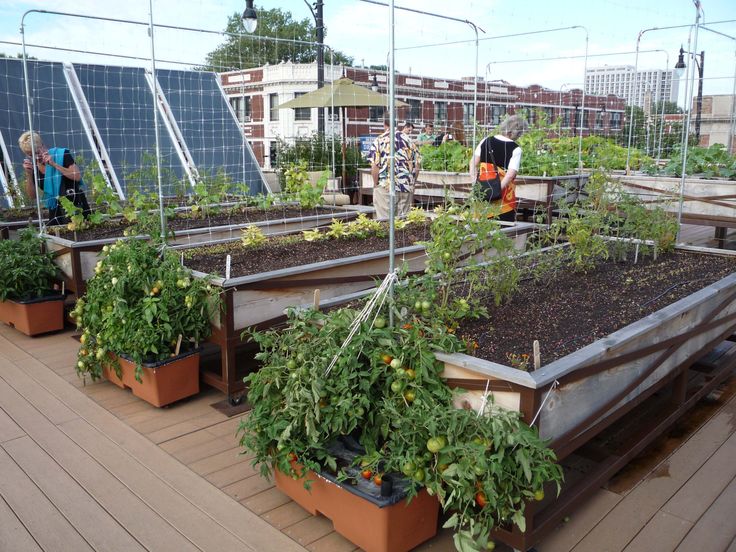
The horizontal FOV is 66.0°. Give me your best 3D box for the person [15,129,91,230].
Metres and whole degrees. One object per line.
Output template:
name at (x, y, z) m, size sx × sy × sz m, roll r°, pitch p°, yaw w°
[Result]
person at (-3.805, -1.196, 6.943) m, size 0.632 × 1.144 × 1.284 m, roll -12°, pitch 19°, yaw -29°
